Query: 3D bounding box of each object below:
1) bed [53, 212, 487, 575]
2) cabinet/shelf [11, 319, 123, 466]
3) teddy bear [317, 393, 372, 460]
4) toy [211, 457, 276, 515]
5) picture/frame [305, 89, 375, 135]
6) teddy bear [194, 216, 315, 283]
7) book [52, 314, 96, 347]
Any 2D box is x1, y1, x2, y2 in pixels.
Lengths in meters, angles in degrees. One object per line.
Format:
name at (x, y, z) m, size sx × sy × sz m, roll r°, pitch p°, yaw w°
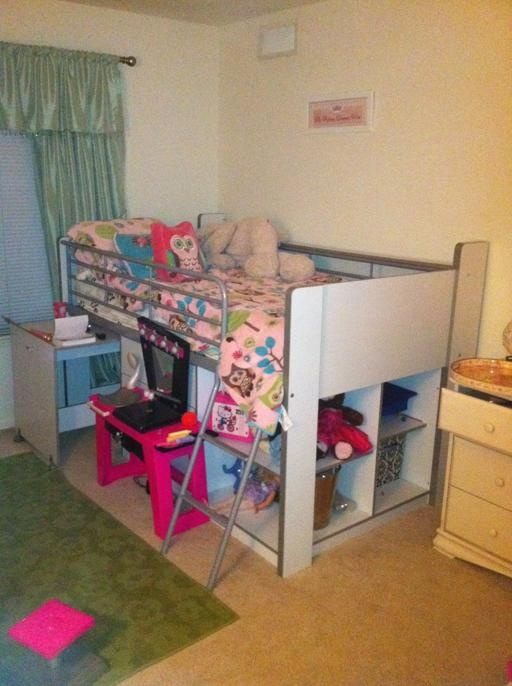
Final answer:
bed at (-0.050, 0.034, 2.749) m, size 1.160 × 1.031 × 1.618 m, roll -14°, pitch 25°, yaw -38°
cabinet/shelf at (-0.900, 0.191, 3.232) m, size 0.749 × 0.676 × 0.697 m, roll -10°, pitch 17°, yaw -43°
teddy bear at (0.338, 0.347, 2.274) m, size 0.227 × 0.100 × 0.252 m, roll -5°, pitch 21°, yaw -17°
toy at (-0.021, 0.613, 2.470) m, size 0.267 × 0.116 × 0.235 m, roll -15°, pitch 44°, yaw 3°
picture/frame at (0.428, -1.182, 2.963) m, size 0.017 × 0.187 × 0.471 m, roll -6°, pitch 14°, yaw -35°
teddy bear at (-0.014, -0.486, 3.024) m, size 0.604 × 0.227 × 0.355 m, roll 19°, pitch 32°, yaw 29°
book at (-0.888, -0.054, 2.818) m, size 0.220 × 0.138 × 0.154 m, roll -10°, pitch 20°, yaw -40°
